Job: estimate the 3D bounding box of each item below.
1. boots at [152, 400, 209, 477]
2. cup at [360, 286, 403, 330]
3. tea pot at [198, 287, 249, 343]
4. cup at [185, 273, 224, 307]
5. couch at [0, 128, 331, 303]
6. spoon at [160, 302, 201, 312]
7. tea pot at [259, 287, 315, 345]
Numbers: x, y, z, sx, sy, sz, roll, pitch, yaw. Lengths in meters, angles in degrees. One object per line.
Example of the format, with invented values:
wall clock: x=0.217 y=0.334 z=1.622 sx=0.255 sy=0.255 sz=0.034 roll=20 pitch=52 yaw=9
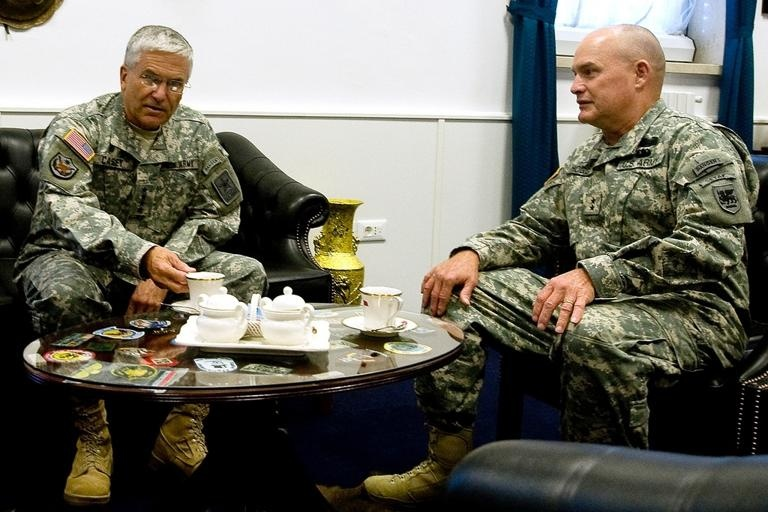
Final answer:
boots: x=-0.703 y=0.628 z=2.084 sx=0.178 sy=0.223 sz=0.276 roll=4 pitch=-3 yaw=-15
cup: x=0.003 y=0.153 z=1.602 sx=0.123 sy=0.095 sz=0.155 roll=4 pitch=-1 yaw=-17
tea pot: x=-0.398 y=0.153 z=1.439 sx=0.126 sy=0.100 sz=0.092 roll=0 pitch=1 yaw=9
cup: x=-0.494 y=0.079 z=1.625 sx=0.125 sy=0.086 sz=0.101 roll=-9 pitch=14 yaw=-37
couch: x=-0.930 y=-0.187 z=2.548 sx=1.327 sy=0.747 sz=0.917 roll=-1 pitch=7 yaw=-36
spoon: x=-0.589 y=0.145 z=1.674 sx=0.089 sy=0.011 sz=0.051 roll=1 pitch=-1 yaw=10
tea pot: x=-0.235 y=0.146 z=1.442 sx=0.121 sy=0.123 sz=0.159 roll=-8 pitch=12 yaw=-44
